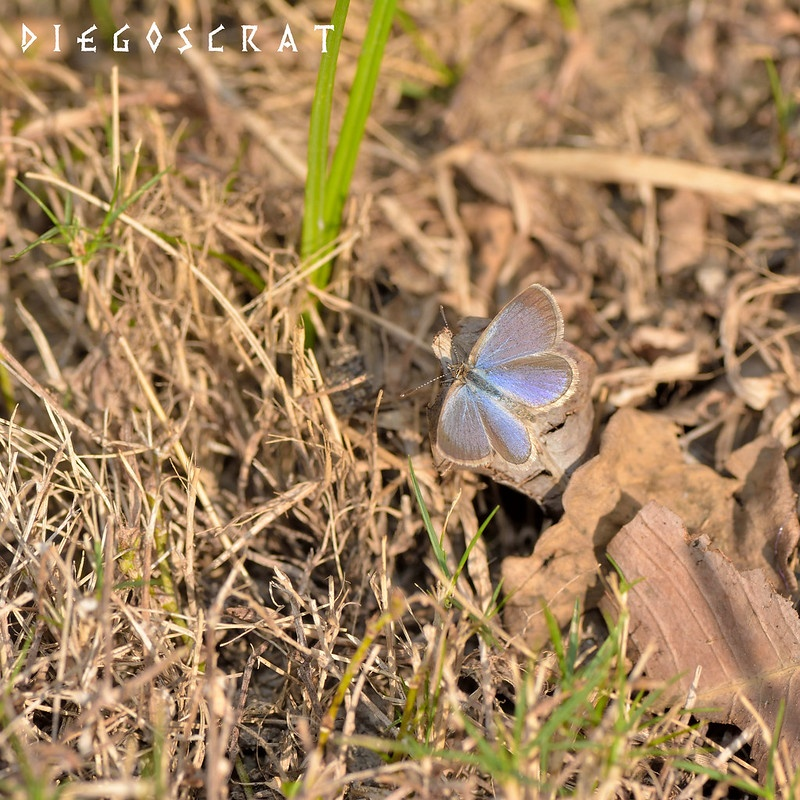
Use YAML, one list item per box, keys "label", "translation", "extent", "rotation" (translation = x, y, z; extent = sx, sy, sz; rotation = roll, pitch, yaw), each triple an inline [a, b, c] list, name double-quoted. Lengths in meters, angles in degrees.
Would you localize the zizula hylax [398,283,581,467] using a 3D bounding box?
- label: "zizula hylax"
  translation: [0.296, -0.047, 2.579]
  extent: [0.317, 0.154, 0.522]
  rotation: [31, 85, 6]
